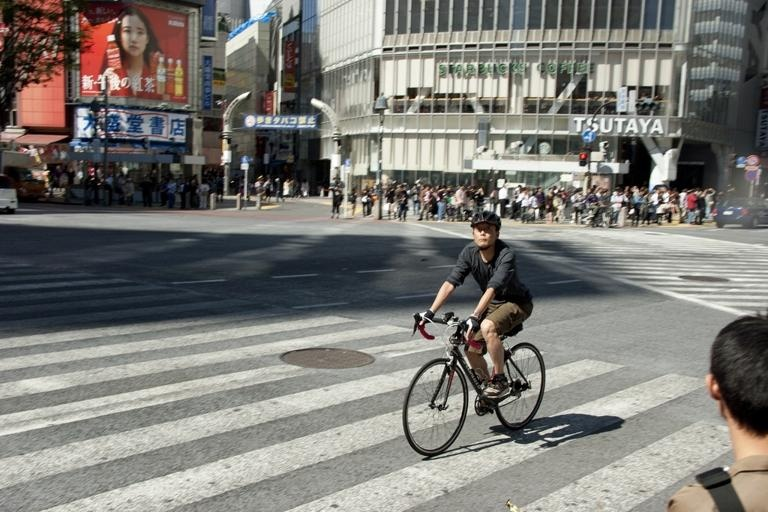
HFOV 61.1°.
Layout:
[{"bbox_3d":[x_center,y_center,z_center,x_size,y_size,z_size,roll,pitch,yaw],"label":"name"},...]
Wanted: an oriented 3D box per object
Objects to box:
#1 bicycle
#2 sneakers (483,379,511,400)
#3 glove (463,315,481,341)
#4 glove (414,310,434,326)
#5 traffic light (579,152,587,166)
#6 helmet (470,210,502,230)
[{"bbox_3d":[1.386,1.142,5.842,2.161,1.053,0.746,0,1,-36],"label":"bicycle"},{"bbox_3d":[1.059,1.253,6.028,0.328,0.111,0.116,2,-4,-36],"label":"sneakers"},{"bbox_3d":[0.789,0.627,5.690,0.089,0.140,0.217,-15,17,16],"label":"glove"},{"bbox_3d":[0.373,0.529,5.705,0.102,0.072,0.206,-22,-9,14],"label":"glove"},{"bbox_3d":[12.166,-5.839,39.188,0.286,0.815,1.102,4,9,23],"label":"traffic light"},{"bbox_3d":[0.940,-0.324,5.893,0.246,0.164,0.258,0,8,4],"label":"helmet"}]
